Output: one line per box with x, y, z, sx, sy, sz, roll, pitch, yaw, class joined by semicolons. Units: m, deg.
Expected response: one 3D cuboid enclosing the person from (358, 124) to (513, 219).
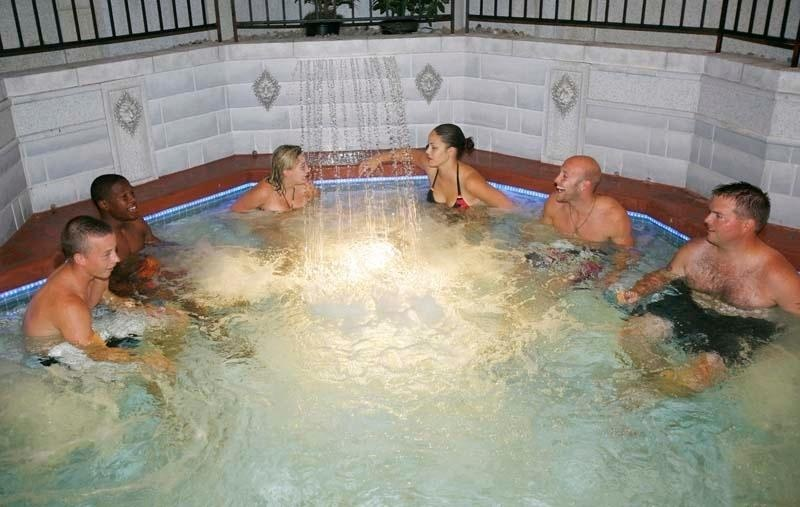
0.435;-0.924;5.917;0.873;1.024;0.519;-26;51;-3;person

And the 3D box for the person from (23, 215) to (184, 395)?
-2.116;0.264;3.703;1.204;1.061;0.737;6;26;13;person

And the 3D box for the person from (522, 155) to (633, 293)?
1.659;-0.355;4.550;0.929;0.956;0.869;13;29;26;person

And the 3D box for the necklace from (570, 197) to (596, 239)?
1.707;-0.315;4.748;0.048;0.322;0.107;-26;53;-38;necklace

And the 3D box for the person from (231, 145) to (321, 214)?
-1.277;-0.801;5.553;1.148;0.756;0.471;-14;33;-38;person

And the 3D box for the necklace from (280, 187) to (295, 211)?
-1.219;-0.580;5.577;0.089;0.293;0.014;-10;30;-18;necklace

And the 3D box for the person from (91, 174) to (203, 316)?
-2.275;-0.038;4.559;0.905;1.481;0.608;-1;40;-10;person
